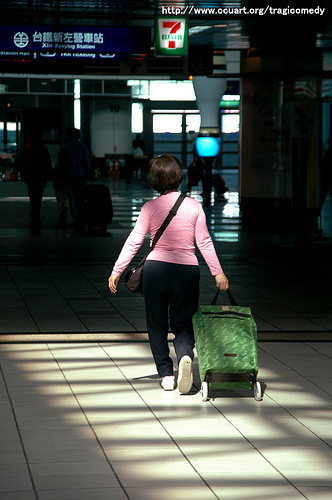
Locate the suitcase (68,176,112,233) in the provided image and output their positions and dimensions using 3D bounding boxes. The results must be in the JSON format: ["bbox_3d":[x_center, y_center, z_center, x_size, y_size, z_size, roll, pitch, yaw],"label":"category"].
[{"bbox_3d":[-1.817,-1.050,12.627,1.115,1.182,1.053,-2,0,-25],"label":"suitcase"}]

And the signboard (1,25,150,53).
[{"bbox_3d":[-1.888,-4.442,10.536,3.038,0.550,0.272,-2,11,-5],"label":"signboard"}]

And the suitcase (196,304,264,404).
[{"bbox_3d":[0.379,0.594,3.122,0.370,0.227,0.541,4,45,-8],"label":"suitcase"}]

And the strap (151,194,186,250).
[{"bbox_3d":[0.019,-0.163,3.097,0.049,0.371,0.059,26,-7,36],"label":"strap"}]

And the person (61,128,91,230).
[{"bbox_3d":[-2.157,-1.780,12.246,0.661,2.308,0.349,5,13,31],"label":"person"}]
